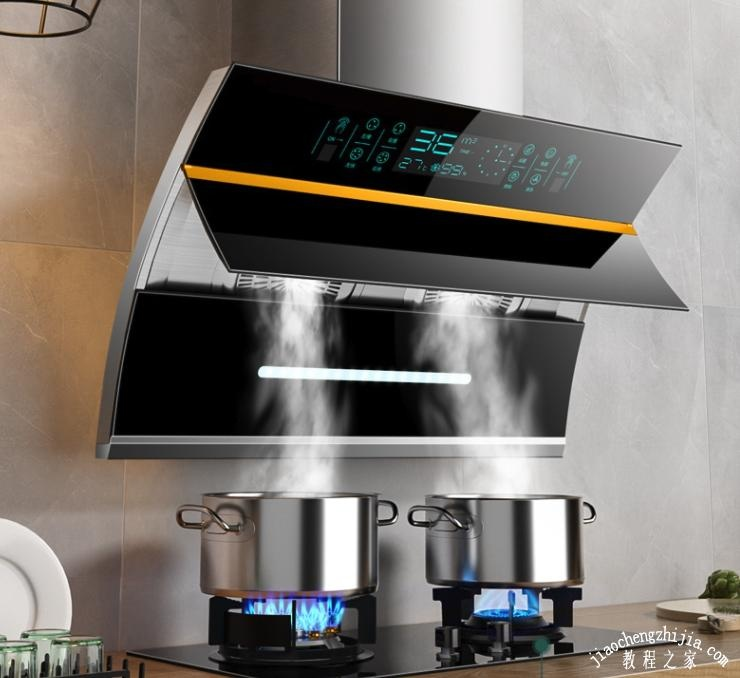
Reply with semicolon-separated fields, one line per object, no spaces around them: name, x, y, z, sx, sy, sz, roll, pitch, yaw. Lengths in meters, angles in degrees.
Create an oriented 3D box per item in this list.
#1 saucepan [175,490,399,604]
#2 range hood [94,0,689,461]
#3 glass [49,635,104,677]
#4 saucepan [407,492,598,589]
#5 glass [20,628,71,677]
saucepan;-0.117;0.349;1.535;0.390;0.149;0.268;13;-16;-42
range hood;0.005;-0.176;1.615;1.052;0.622;0.379;7;-10;-36
glass;-0.342;0.365;1.096;0.047;0.045;0.049;2;-4;-23
saucepan;0.219;0.344;1.639;0.269;0.101;0.184;5;-9;-26
glass;-0.384;0.375;1.107;0.044;0.047;0.043;1;-10;-5
